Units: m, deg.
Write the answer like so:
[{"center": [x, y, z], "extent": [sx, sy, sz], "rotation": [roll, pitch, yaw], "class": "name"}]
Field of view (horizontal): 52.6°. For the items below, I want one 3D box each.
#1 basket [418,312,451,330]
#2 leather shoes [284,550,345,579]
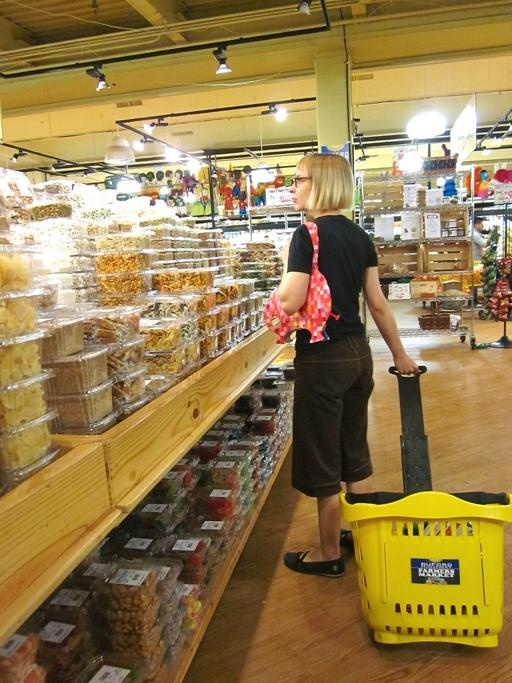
[{"center": [2.603, -0.301, 7.539], "extent": [0.356, 0.152, 0.260], "rotation": [0, 7, 4], "class": "basket"}, {"center": [0.245, 0.944, 2.227], "extent": [0.266, 0.086, 0.095], "rotation": [4, 6, 20], "class": "leather shoes"}]
